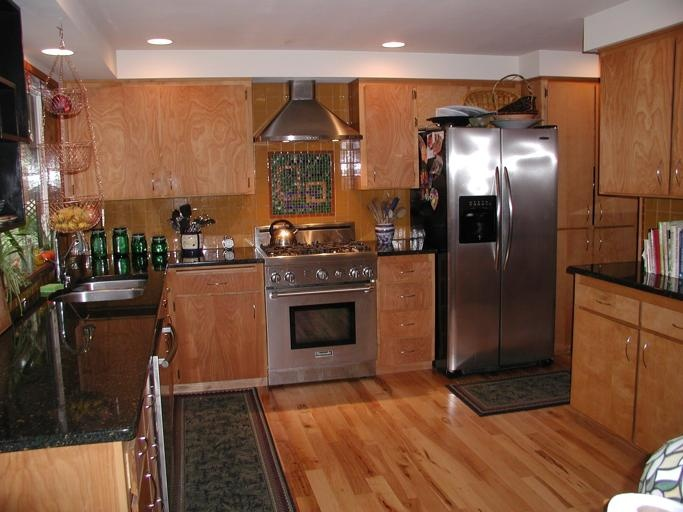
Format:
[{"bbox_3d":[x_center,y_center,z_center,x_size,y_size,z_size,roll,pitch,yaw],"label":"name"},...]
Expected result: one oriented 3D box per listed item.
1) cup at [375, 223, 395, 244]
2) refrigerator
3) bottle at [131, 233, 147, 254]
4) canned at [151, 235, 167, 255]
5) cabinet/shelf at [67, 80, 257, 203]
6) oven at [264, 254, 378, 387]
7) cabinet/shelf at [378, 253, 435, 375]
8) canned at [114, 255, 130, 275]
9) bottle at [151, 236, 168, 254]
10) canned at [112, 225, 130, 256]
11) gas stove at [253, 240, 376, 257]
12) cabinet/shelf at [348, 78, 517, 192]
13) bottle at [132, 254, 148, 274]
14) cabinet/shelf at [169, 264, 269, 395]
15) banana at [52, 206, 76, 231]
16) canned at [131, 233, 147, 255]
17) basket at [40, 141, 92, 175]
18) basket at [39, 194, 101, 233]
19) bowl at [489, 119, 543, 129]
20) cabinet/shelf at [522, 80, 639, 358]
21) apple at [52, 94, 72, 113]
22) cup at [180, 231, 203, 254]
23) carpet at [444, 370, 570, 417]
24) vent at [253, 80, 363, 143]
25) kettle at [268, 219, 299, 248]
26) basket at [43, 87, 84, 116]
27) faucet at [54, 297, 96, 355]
[{"bbox_3d":[0.397,-0.207,5.096,0.169,0.171,0.172,0,8,0],"label":"cup"},{"bbox_3d":[1.278,-0.113,5.048,1.227,2.118,1.012,-5,9,-25],"label":"refrigerator"},{"bbox_3d":[-1.693,-0.097,4.666,0.127,0.184,0.166,0,2,-8],"label":"bottle"},{"bbox_3d":[-1.511,-0.089,4.608,0.141,0.144,0.148,4,5,37],"label":"canned"},{"bbox_3d":[-1.455,-0.970,4.800,1.420,1.020,0.507,-1,-2,-2],"label":"cabinet/shelf"},{"bbox_3d":[-0.197,0.487,4.811,0.920,1.071,0.698,-3,7,-7],"label":"oven"},{"bbox_3d":[0.470,0.474,4.961,0.554,1.027,0.631,-1,5,-21],"label":"cabinet/shelf"},{"bbox_3d":[-1.692,0.077,4.242,0.083,0.157,0.087,-10,16,-37],"label":"canned"},{"bbox_3d":[-1.511,-0.094,4.594,0.137,0.137,0.140,-1,7,-11],"label":"bottle"},{"bbox_3d":[-1.857,-0.119,4.626,0.129,0.234,0.197,-7,13,-23],"label":"canned"},{"bbox_3d":[-0.224,-0.056,4.702,0.973,0.046,0.578,-2,13,-6],"label":"gas stove"},{"bbox_3d":[0.764,-1.033,4.756,0.988,0.904,0.324,-2,7,-15],"label":"cabinet/shelf"},{"bbox_3d":[-1.566,0.069,4.280,0.090,0.157,0.103,2,7,11],"label":"bottle"},{"bbox_3d":[-0.981,0.489,4.747,1.008,1.431,0.886,-2,5,-14],"label":"cabinet/shelf"},{"bbox_3d":[-1.699,-0.216,3.367,0.065,0.149,0.120,-18,-22,42],"label":"banana"},{"bbox_3d":[-1.693,-0.092,4.611,0.122,0.185,0.169,0,2,-7],"label":"canned"},{"bbox_3d":[-2.154,-0.767,4.338,0.394,0.260,0.370,-1,13,-17],"label":"basket"},{"bbox_3d":[-1.715,-0.253,3.567,0.346,0.228,0.400,-1,6,-10],"label":"basket"},{"bbox_3d":[1.458,-1.106,4.610,0.379,0.074,0.132,3,13,18],"label":"bowl"},{"bbox_3d":[2.440,-0.356,5.345,0.726,1.940,0.494,0,24,22],"label":"cabinet/shelf"},{"bbox_3d":[-1.591,-0.867,3.133,0.104,0.076,0.096,-6,20,-26],"label":"apple"},{"bbox_3d":[-1.267,-0.134,4.710,0.175,0.194,0.177,0,13,0],"label":"cup"},{"bbox_3d":[1.416,1.078,4.381,1.048,0.032,0.630,-4,13,-13],"label":"carpet"},{"bbox_3d":[-0.304,-1.232,4.646,0.876,0.519,0.508,-3,12,-10],"label":"vent"},{"bbox_3d":[-0.527,-0.198,4.853,0.245,0.245,0.225,-5,12,-24],"label":"kettle"},{"bbox_3d":[-1.667,-0.902,3.231,0.231,0.142,0.226,7,16,20],"label":"basket"},{"bbox_3d":[-1.306,0.335,2.702,0.193,0.368,0.085,-8,31,-33],"label":"faucet"}]
